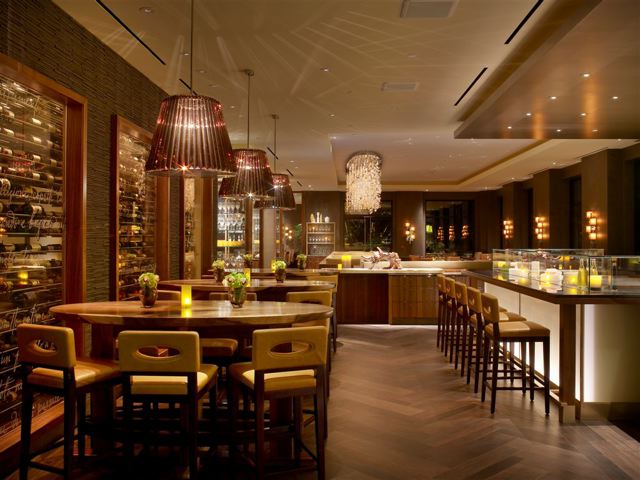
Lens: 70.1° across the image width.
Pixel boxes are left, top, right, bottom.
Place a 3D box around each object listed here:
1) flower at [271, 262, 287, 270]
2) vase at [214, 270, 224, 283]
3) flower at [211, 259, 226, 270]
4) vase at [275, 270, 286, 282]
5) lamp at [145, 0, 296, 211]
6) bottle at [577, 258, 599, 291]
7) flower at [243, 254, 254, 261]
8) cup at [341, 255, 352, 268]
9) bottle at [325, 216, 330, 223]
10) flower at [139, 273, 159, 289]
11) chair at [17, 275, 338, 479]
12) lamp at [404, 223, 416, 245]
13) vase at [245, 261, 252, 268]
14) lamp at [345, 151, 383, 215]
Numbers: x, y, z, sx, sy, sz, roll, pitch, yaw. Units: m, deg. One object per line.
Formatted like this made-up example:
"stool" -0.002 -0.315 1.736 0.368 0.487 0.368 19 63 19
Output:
"flower" -0.594 0.351 6.359 0.158 0.106 0.157 0 -2 5
"vase" -1.316 0.464 5.931 0.122 0.137 0.150 1 -14 -5
"flower" -1.348 0.333 6.016 0.144 0.115 0.141 0 7 -10
"vase" -0.545 0.503 6.329 0.139 0.151 0.142 -1 -3 6
"lamp" -1.217 -1.692 5.531 1.808 2.088 0.858 6 -10 -42
"bottle" 2.823 0.342 4.763 0.220 0.357 0.152 5 6 37
"flower" -1.451 0.332 9.102 0.239 0.157 0.228 1 -7 -1
"cup" 0.578 0.432 9.621 0.232 0.255 0.228 0 -3 0
"bottle" 0.298 -0.882 19.373 0.208 0.265 0.079 -1 5 -22
"flower" -1.449 0.324 3.910 0.169 0.155 0.165 -1 3 -38
"chair" -1.020 0.889 4.163 2.248 1.076 1.454 1 5 2
"lamp" 3.859 -0.298 19.555 0.484 0.918 0.171 2 5 6
"vase" -1.254 0.416 7.839 0.112 0.123 0.112 4 2 20
"lamp" 1.114 -1.512 11.969 0.853 1.490 1.021 -3 6 -39
